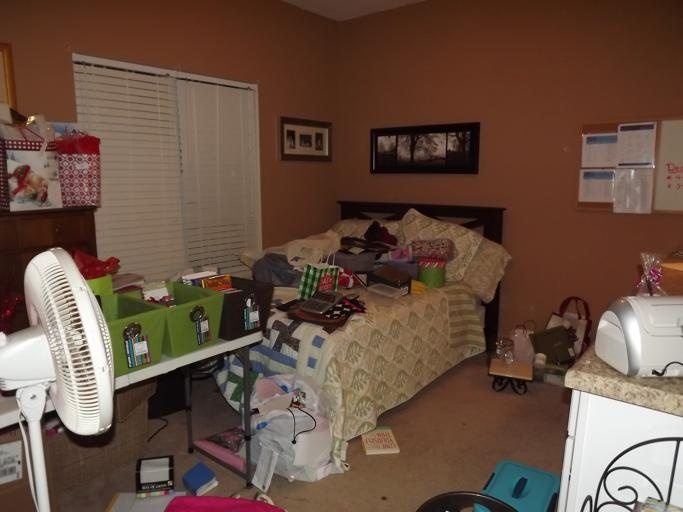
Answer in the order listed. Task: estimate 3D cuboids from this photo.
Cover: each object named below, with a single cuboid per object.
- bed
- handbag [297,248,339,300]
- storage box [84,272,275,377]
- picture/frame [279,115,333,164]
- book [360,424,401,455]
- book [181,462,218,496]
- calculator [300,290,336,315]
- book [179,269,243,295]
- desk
[{"bbox_3d":[0.270,0.219,3.711,1.291,0.974,1.819,11,16,43],"label":"bed"},{"bbox_3d":[-0.180,0.136,3.540,0.286,0.404,0.065,11,-3,-23],"label":"handbag"},{"bbox_3d":[-0.773,0.316,2.324,0.496,0.158,0.493,-8,11,-43],"label":"storage box"},{"bbox_3d":[-0.353,-1.172,4.959,0.037,0.419,0.734,9,15,40],"label":"picture/frame"},{"bbox_3d":[0.241,1.158,3.109,0.225,0.053,0.237,-2,12,-6],"label":"book"},{"bbox_3d":[-0.777,1.196,2.657,0.149,0.075,0.144,27,27,26],"label":"book"},{"bbox_3d":[-0.144,0.295,3.173,0.198,0.092,0.205,6,13,29],"label":"calculator"},{"bbox_3d":[-0.708,0.128,2.618,0.186,0.070,0.143,6,8,39],"label":"book"},{"bbox_3d":[-0.938,0.445,2.489,0.874,0.574,0.901,7,9,35],"label":"desk"}]
